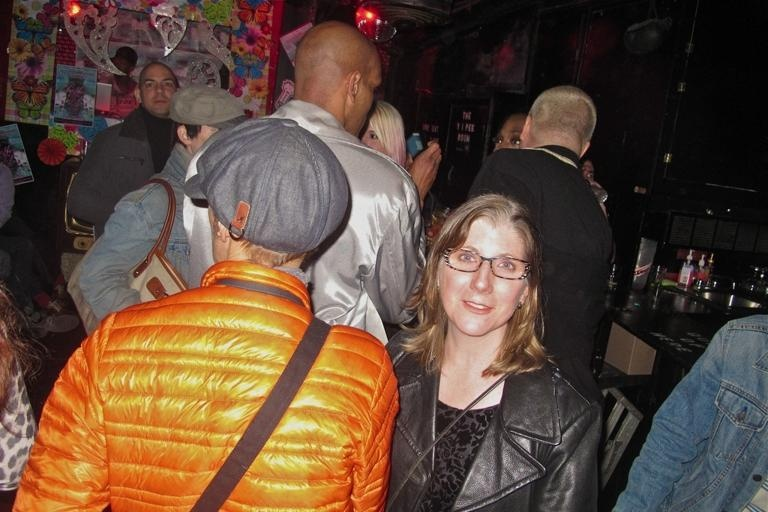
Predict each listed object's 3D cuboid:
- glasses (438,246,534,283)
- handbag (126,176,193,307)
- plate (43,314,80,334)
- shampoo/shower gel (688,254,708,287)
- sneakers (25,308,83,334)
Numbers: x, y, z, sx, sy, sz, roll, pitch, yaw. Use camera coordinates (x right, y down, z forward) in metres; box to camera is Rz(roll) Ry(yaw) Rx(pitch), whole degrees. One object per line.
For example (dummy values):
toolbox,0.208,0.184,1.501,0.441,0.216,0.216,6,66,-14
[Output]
glasses,0.399,0.026,2.011,0.328,0.093,0.046,10,10,8
handbag,-1.074,-0.079,2.463,0.228,0.551,0.410,2,11,-28
plate,-2.988,0.627,4.849,0.335,0.117,0.129,-10,-22,-33
shampoo/shower gel,2.764,0.117,4.486,0.129,0.283,0.124,13,11,31
sneakers,-3.085,0.605,4.824,0.521,0.181,0.207,3,-23,-14
